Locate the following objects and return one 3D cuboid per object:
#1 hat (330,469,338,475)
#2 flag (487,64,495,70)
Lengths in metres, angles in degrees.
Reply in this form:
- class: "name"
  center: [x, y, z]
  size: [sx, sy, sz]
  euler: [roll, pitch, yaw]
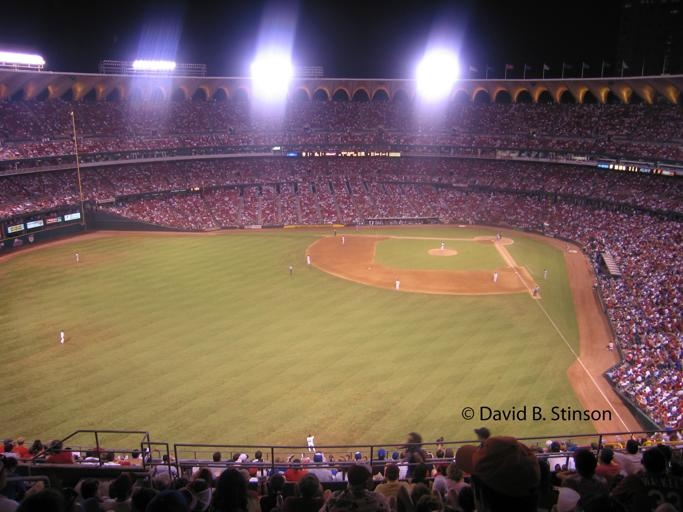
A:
- class: "hat"
  center: [-0.292, 8.290, 21.305]
  size: [0.208, 0.178, 0.196]
  euler: [1, -3, -6]
- class: "flag"
  center: [21.989, -27.660, 81.484]
  size: [1.477, 1.277, 0.363]
  euler: [2, -51, 3]
